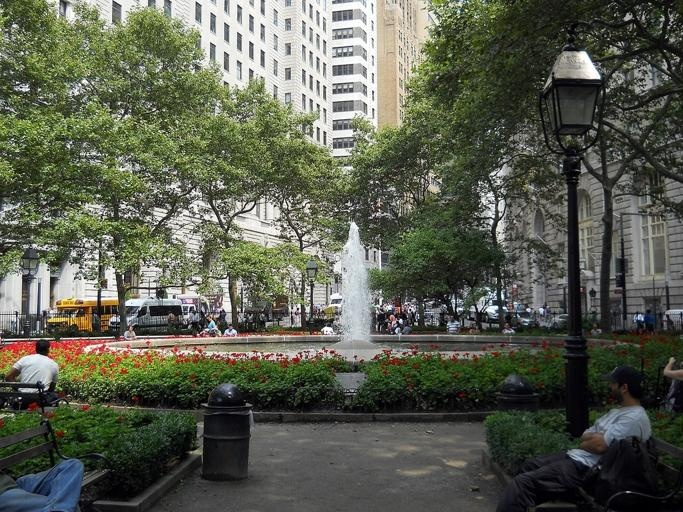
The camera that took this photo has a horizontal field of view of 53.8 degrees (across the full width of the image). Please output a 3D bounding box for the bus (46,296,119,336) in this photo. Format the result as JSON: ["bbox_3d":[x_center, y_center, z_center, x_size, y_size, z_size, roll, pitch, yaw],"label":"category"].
[{"bbox_3d":[-16.458,3.685,42.219,2.482,1.924,3.915,-6,-10,38],"label":"bus"}]

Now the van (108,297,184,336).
[{"bbox_3d":[-12.681,3.931,43.826,1.824,2.389,5.355,-4,-6,28],"label":"van"}]

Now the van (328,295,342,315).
[{"bbox_3d":[-0.557,4.576,62.095,1.257,1.253,2.161,0,1,2],"label":"van"}]

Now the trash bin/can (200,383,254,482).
[{"bbox_3d":[-1.758,2.639,10.217,0.870,1.318,0.856,0,-8,14],"label":"trash bin/can"}]

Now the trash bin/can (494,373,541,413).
[{"bbox_3d":[3.128,2.461,12.012,0.801,0.639,0.773,1,-3,-18],"label":"trash bin/can"}]

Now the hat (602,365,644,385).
[{"bbox_3d":[3.271,1.374,7.833,0.333,0.136,0.233,-2,-5,18],"label":"hat"}]

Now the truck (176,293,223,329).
[{"bbox_3d":[-9.991,3.786,50.419,1.750,2.271,4.802,-6,-12,21],"label":"truck"}]

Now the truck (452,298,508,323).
[{"bbox_3d":[12.258,4.787,58.461,3.572,2.130,6.586,1,-4,-24],"label":"truck"}]
